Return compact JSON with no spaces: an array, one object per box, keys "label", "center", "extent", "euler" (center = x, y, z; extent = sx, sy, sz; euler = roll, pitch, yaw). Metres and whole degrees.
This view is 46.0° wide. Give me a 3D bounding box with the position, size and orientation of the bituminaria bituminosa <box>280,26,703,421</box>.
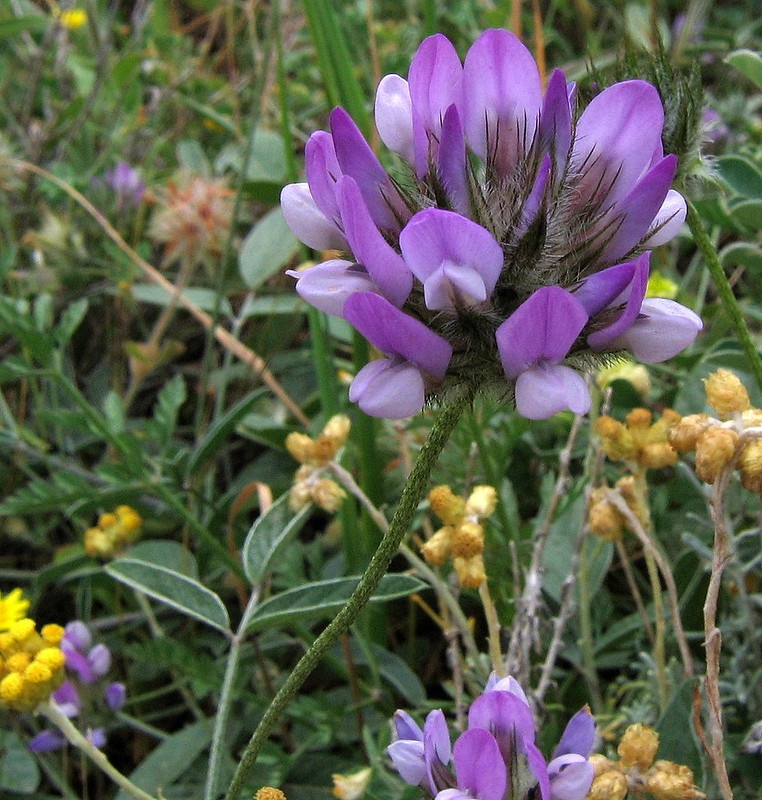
[{"label":"bituminaria bituminosa","center":[0.077,-0.139,0.654],"extent":[0.313,0.170,0.304],"euler":[-8,51,5]}]
